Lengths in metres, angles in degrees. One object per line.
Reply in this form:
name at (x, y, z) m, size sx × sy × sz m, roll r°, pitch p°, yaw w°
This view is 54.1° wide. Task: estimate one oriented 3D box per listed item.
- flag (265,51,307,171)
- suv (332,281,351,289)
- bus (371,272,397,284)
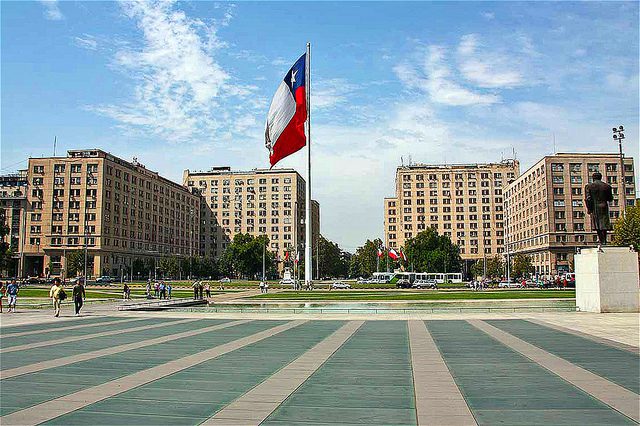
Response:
flag at (-2.829, -8.922, 53.689) m, size 3.760 × 9.368 × 1.498 m, roll -9°, pitch -11°, yaw 42°
suv at (3.250, 12.147, 102.590) m, size 3.260 × 1.357 × 1.782 m, roll -2°, pitch -3°, yaw 9°
bus at (12.290, 13.202, 126.058) m, size 5.663 × 2.212 × 2.084 m, roll -3°, pitch -2°, yaw 17°
